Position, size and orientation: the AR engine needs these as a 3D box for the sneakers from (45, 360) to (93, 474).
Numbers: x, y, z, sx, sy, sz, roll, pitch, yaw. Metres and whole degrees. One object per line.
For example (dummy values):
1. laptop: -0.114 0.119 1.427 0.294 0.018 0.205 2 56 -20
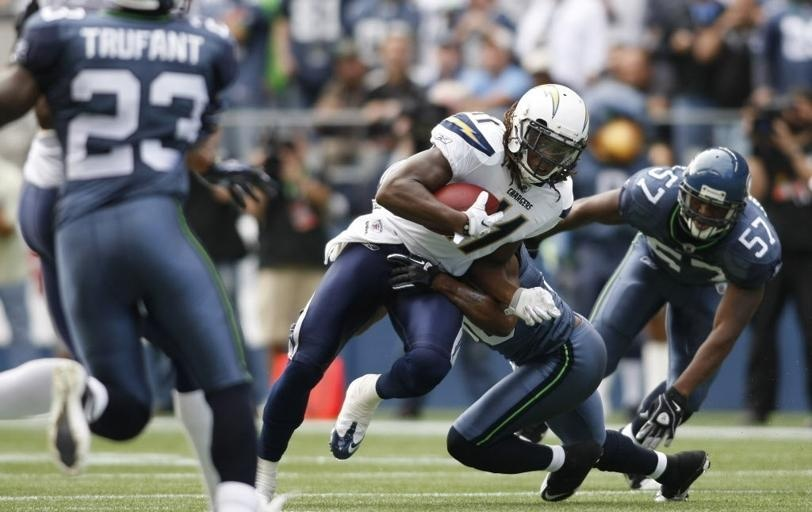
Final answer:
1. sneakers: -1.368 0.648 4.458 0.159 0.433 0.127 0 -3 -7

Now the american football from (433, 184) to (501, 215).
1. american football: 0.323 -0.274 5.443 0.255 0.157 0.166 14 1 -5

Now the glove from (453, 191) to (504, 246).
1. glove: 0.365 -0.186 5.357 0.243 0.252 0.091 44 -1 6

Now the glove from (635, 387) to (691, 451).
1. glove: 1.414 0.885 6.012 0.347 0.236 0.129 -35 -9 13

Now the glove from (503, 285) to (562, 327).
1. glove: 0.632 0.240 5.478 0.220 0.094 0.188 -2 14 -39
